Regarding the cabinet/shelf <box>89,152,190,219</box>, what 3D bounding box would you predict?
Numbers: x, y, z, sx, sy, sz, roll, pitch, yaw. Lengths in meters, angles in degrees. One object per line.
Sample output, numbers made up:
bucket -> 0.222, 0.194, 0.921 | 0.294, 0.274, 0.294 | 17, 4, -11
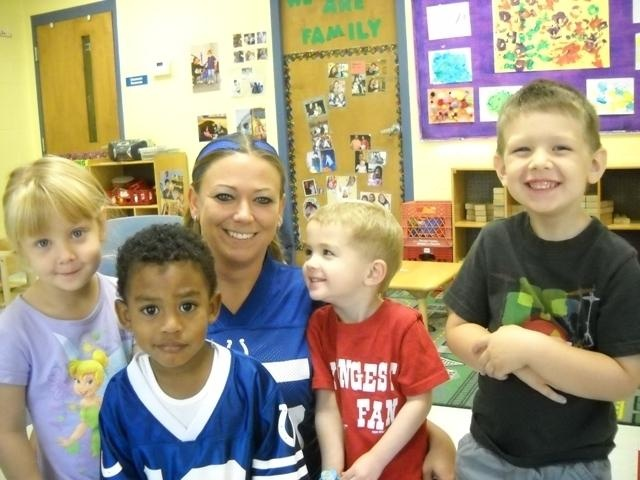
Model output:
cabinet/shelf -> -2.029, -0.598, 6.442 | 0.918, 0.742, 0.519 | 0, 3, 28

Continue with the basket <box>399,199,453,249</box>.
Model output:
basket -> 1.009, -0.161, 5.296 | 0.521, 0.528, 0.392 | 0, 8, 13

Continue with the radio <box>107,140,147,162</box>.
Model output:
radio -> -2.149, -0.977, 6.255 | 0.274, 0.189, 0.282 | 2, 5, 14
